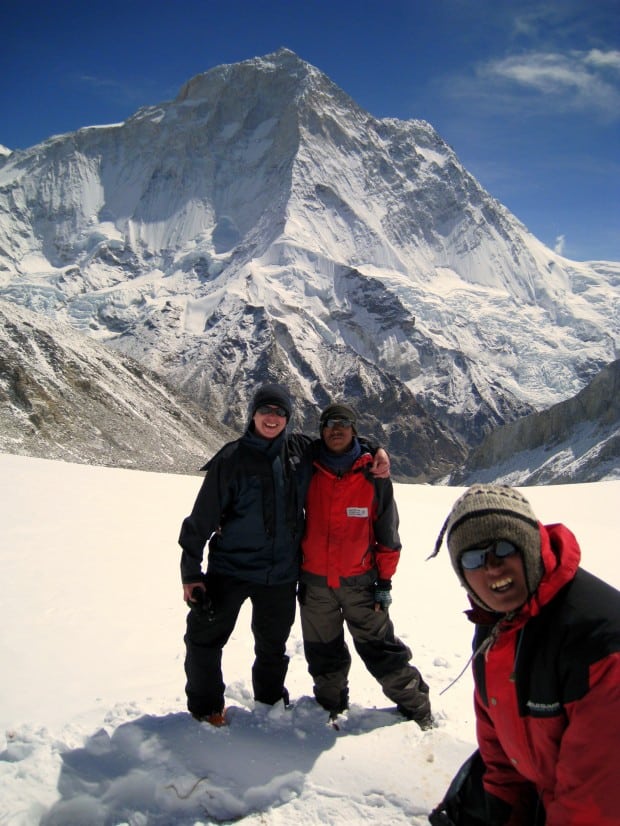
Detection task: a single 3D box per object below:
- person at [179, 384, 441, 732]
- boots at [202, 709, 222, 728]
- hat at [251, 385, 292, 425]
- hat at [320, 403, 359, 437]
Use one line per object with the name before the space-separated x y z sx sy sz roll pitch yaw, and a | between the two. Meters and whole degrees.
person | -0.390 0.870 5.181 0.904 2.012 0.569 11 2 -11
boots | -0.594 1.883 4.969 0.140 0.083 0.127 8 3 -15
hat | -0.210 -0.051 5.245 0.244 0.224 0.261 15 -12 -16
hat | 0.181 0.056 5.321 0.198 0.139 0.247 -1 -28 10
